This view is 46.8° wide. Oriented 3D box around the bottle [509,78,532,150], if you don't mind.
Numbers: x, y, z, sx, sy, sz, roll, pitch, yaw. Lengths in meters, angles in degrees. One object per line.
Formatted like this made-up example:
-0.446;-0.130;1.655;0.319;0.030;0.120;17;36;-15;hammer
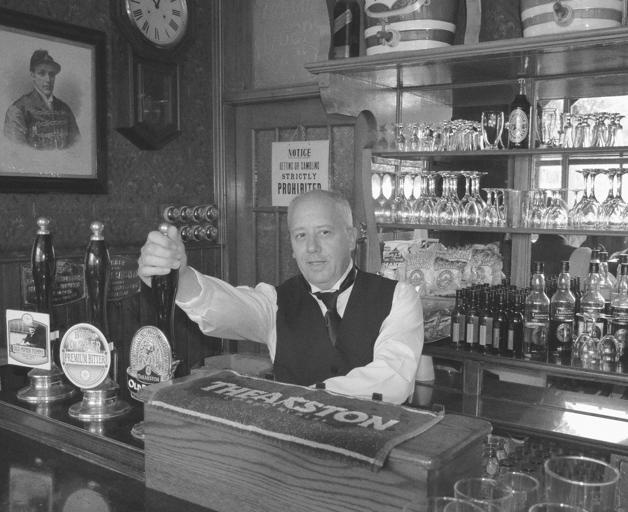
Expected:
0.961;-0.672;3.412;0.104;0.350;0.261;0;5;15;bottle

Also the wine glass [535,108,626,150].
1.155;-0.539;3.220;0.167;0.194;0.445;-4;5;-38;wine glass

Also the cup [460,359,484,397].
0.701;0.544;3.221;0.078;0.159;0.061;0;5;20;cup

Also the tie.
0.076;0.184;2.642;0.135;0.252;0.055;-12;-26;32;tie

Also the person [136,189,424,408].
-0.119;0.150;2.910;0.688;1.310;0.751;-17;-11;21;person

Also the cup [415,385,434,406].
0.509;0.652;3.364;0.073;0.135;0.079;1;-3;0;cup
